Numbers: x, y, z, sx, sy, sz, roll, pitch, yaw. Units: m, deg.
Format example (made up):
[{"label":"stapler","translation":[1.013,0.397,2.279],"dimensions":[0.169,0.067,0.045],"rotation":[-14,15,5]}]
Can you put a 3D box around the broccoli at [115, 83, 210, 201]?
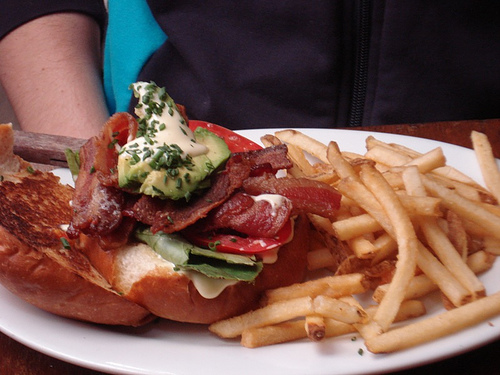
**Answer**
[{"label":"broccoli","translation":[-0.427,-0.247,1.803],"dimensions":[0.196,0.336,0.563],"rotation":[-34,15,-14]}]

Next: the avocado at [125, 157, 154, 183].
[{"label":"avocado","translation":[-0.393,-0.062,1.531],"dimensions":[0.113,0.078,0.045],"rotation":[-21,48,-13]}]

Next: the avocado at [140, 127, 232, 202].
[{"label":"avocado","translation":[-0.214,-0.098,1.622],"dimensions":[0.193,0.111,0.393],"rotation":[16,45,23]}]
